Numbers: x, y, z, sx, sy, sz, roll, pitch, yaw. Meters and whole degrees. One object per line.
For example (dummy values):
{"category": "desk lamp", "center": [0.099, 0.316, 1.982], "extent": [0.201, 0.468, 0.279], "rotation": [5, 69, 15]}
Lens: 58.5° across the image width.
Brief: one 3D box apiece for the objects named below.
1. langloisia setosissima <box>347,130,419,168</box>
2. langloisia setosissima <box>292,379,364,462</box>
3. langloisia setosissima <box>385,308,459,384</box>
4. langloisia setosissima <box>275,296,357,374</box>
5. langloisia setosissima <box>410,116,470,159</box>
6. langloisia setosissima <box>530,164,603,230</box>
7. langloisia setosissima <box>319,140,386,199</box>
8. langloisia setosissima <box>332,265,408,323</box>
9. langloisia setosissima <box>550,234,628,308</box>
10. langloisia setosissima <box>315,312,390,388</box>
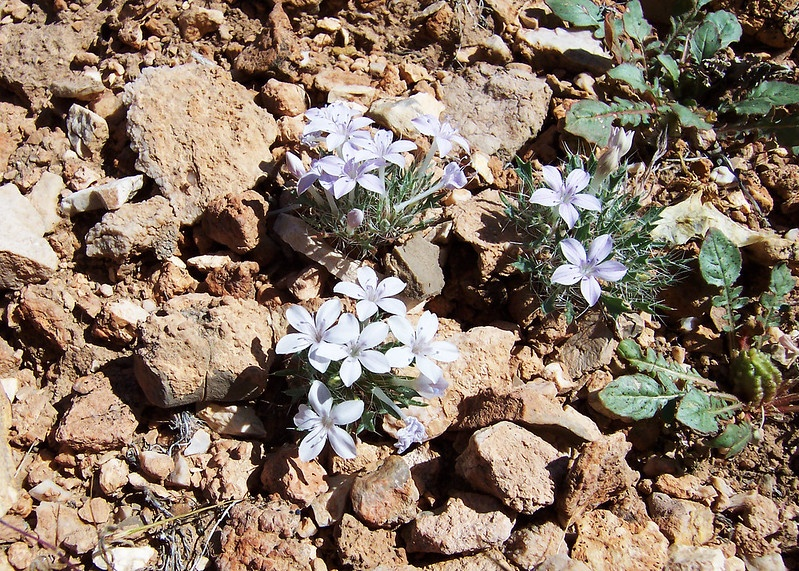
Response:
{"category": "langloisia setosissima", "center": [-0.130, -0.864, 4.588], "extent": [0.318, 0.303, 0.165], "rotation": [-17, 97, -23]}
{"category": "langloisia setosissima", "center": [-0.430, 0.823, 4.186], "extent": [0.399, 0.456, 0.151], "rotation": [-42, 112, -11]}
{"category": "langloisia setosissima", "center": [0.100, 0.349, 4.268], "extent": [0.439, 0.202, 0.392], "rotation": [37, 44, 17]}
{"category": "langloisia setosissima", "center": [-0.463, 0.312, 4.370], "extent": [0.432, 0.172, 0.463], "rotation": [-39, 66, -4]}
{"category": "langloisia setosissima", "center": [0.290, -0.974, 4.672], "extent": [0.362, 0.131, 0.356], "rotation": [18, 25, -44]}
{"category": "langloisia setosissima", "center": [1.028, -0.516, 4.646], "extent": [0.418, 0.141, 0.416], "rotation": [39, 72, 4]}
{"category": "langloisia setosissima", "center": [-0.293, -0.709, 4.568], "extent": [0.442, 0.237, 0.491], "rotation": [1, 45, -3]}
{"category": "langloisia setosissima", "center": [-0.162, 0.052, 4.362], "extent": [0.383, 0.163, 0.348], "rotation": [-25, 73, -17]}
{"category": "langloisia setosissima", "center": [1.201, -0.162, 4.454], "extent": [0.391, 0.409, 0.150], "rotation": [-16, 78, -20]}
{"category": "langloisia setosissima", "center": [-0.235, 0.368, 4.208], "extent": [0.406, 0.241, 0.366], "rotation": [28, 42, 8]}
